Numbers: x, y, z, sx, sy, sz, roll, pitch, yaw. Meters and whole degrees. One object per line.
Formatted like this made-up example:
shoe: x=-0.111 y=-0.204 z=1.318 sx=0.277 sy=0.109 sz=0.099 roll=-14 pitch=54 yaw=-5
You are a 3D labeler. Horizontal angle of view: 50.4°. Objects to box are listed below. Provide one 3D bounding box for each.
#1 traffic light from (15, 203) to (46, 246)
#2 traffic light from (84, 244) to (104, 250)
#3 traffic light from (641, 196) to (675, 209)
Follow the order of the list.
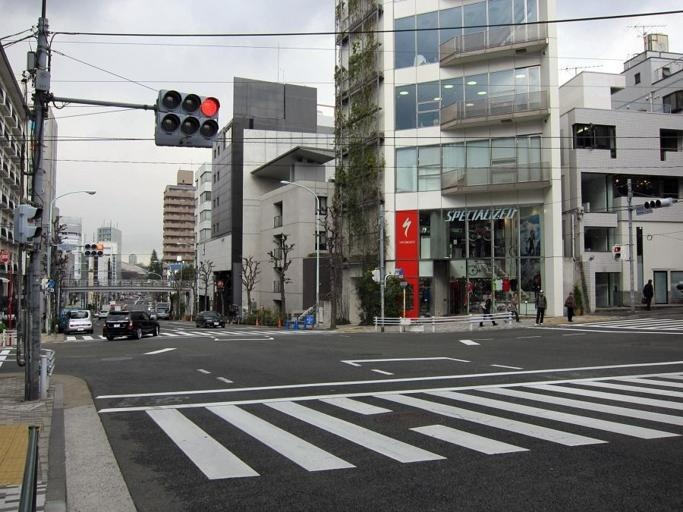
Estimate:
traffic light: x=-7.438 y=-0.743 z=17.161 sx=0.610 sy=0.962 sz=0.696 roll=0 pitch=-4 yaw=-18
traffic light: x=-18.209 y=-0.680 z=52.990 sx=1.133 sy=0.345 sz=1.200 roll=0 pitch=-3 yaw=8
traffic light: x=17.395 y=-2.976 z=39.833 sx=1.216 sy=0.634 sz=2.585 roll=-2 pitch=-4 yaw=15
